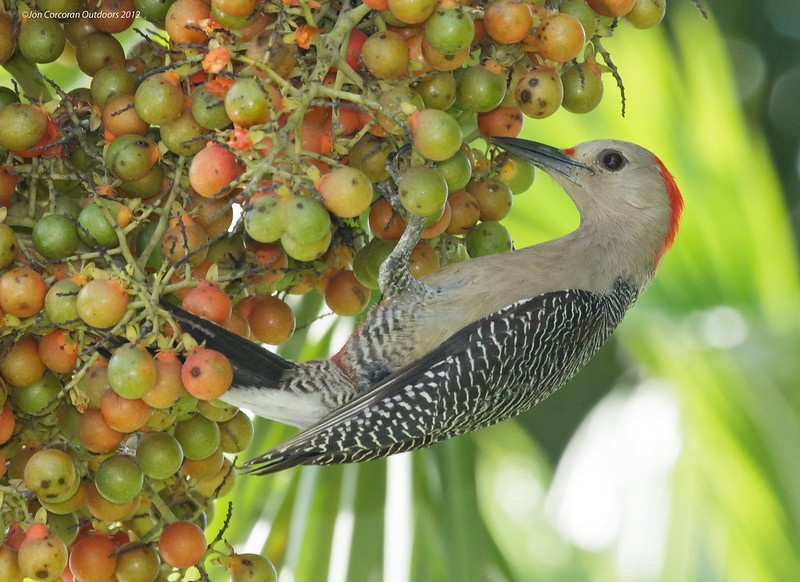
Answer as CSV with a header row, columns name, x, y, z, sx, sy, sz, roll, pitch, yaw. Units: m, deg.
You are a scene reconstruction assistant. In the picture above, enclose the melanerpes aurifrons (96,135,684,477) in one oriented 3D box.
name,x,y,z,sx,sy,sz,roll,pitch,yaw
melanerpes aurifrons,0.085,0.095,2.639,1.140,0.796,0.352,-17,32,1
